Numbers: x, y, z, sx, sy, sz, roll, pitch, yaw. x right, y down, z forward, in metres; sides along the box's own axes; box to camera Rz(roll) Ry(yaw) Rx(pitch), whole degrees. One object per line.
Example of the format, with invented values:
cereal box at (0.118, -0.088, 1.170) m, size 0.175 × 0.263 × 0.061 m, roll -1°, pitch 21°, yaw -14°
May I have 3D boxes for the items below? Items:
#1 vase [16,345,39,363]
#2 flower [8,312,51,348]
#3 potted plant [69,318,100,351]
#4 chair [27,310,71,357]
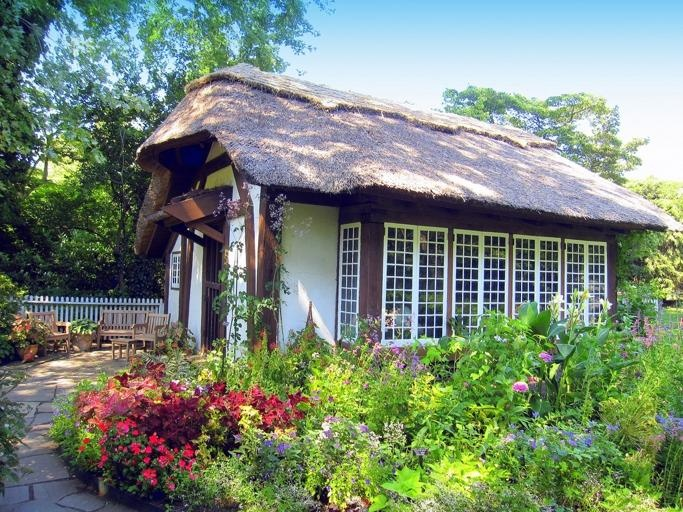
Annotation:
vase at (-6.891, 2.128, 12.229) m, size 0.306 × 0.367 × 0.467 m, roll 5°, pitch -5°, yaw -22°
flower at (-6.951, 1.706, 12.431) m, size 0.358 × 0.646 × 0.936 m, roll 1°, pitch -6°, yaw 18°
potted plant at (-6.473, 2.015, 14.156) m, size 0.646 × 0.755 × 0.706 m, roll 1°, pitch -12°, yaw -6°
chair at (-6.893, 1.806, 13.275) m, size 0.640 × 0.947 × 0.735 m, roll 0°, pitch 1°, yaw 9°
